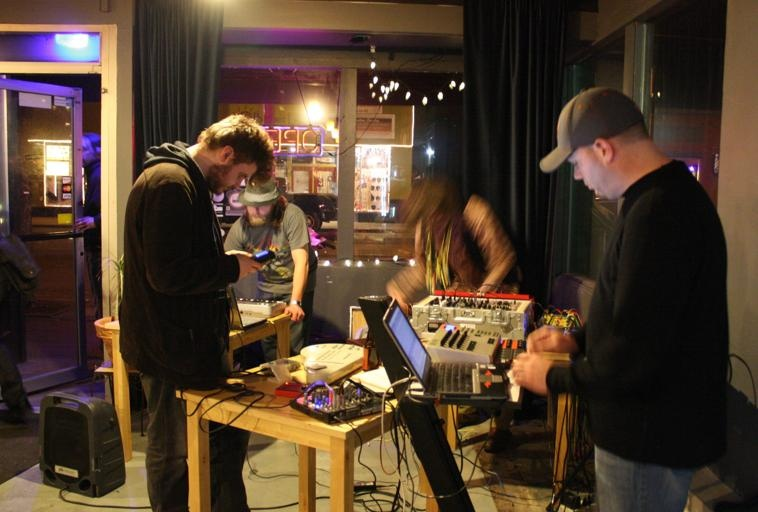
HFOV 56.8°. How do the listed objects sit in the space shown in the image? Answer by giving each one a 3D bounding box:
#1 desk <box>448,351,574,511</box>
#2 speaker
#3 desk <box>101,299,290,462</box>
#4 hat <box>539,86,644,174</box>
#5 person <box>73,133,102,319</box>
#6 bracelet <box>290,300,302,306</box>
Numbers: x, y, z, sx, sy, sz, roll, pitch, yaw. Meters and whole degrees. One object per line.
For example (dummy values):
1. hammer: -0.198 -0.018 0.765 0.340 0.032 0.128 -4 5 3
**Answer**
1. desk: 0.993 1.441 5.120 0.904 0.343 1.399 2 9 22
2. speaker: -2.025 1.284 4.709 0.649 0.767 0.391 2 4 16
3. desk: -1.355 0.760 5.280 1.073 1.058 1.400 9 17 34
4. hat: 1.043 -0.662 3.455 0.438 0.264 0.328 -22 11 25
5. person: -2.901 -0.337 7.003 0.263 1.781 0.938 -4 9 -21
6. bracelet: -0.652 0.350 5.411 0.076 0.056 0.085 7 3 5
